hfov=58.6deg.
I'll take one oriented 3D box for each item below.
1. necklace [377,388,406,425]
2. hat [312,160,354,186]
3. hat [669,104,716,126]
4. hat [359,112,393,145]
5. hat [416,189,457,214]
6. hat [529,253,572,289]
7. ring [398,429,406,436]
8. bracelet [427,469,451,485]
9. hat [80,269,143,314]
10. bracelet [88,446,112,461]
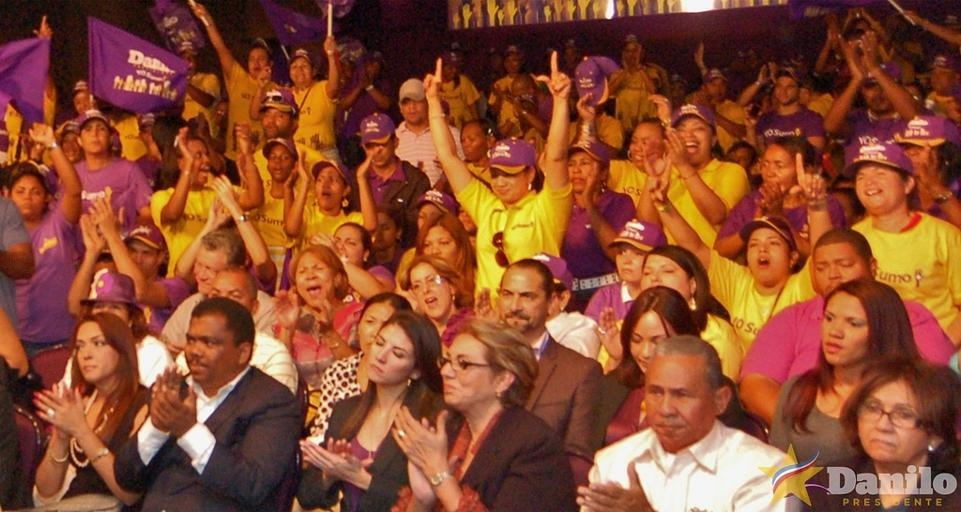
[{"bbox_3d":[-0.740,1.228,7.138,0.213,0.273,0.202,-3,10,-39],"label":"necklace"},{"bbox_3d":[-1.778,-1.040,10.513,0.531,0.290,0.326,10,-19,-20],"label":"hat"},{"bbox_3d":[2.433,-1.652,9.829,0.497,0.334,0.207,2,-18,4],"label":"hat"},{"bbox_3d":[-1.270,-1.619,10.736,0.308,0.241,0.421,0,13,10],"label":"hat"},{"bbox_3d":[-0.468,-0.624,10.154,0.257,0.235,0.400,15,-5,23],"label":"hat"},{"bbox_3d":[0.715,0.118,8.405,0.380,0.398,0.443,3,-18,3],"label":"hat"},{"bbox_3d":[-0.590,1.344,6.503,0.054,0.039,0.053,-1,-19,0],"label":"ring"},{"bbox_3d":[-0.294,1.650,6.397,0.147,0.084,0.037,-38,-14,-2],"label":"bracelet"},{"bbox_3d":[-3.545,0.339,8.273,0.412,0.229,0.426,6,-5,-3],"label":"hat"},{"bbox_3d":[-3.121,1.641,7.068,0.118,0.046,0.116,-32,5,-22],"label":"bracelet"}]
